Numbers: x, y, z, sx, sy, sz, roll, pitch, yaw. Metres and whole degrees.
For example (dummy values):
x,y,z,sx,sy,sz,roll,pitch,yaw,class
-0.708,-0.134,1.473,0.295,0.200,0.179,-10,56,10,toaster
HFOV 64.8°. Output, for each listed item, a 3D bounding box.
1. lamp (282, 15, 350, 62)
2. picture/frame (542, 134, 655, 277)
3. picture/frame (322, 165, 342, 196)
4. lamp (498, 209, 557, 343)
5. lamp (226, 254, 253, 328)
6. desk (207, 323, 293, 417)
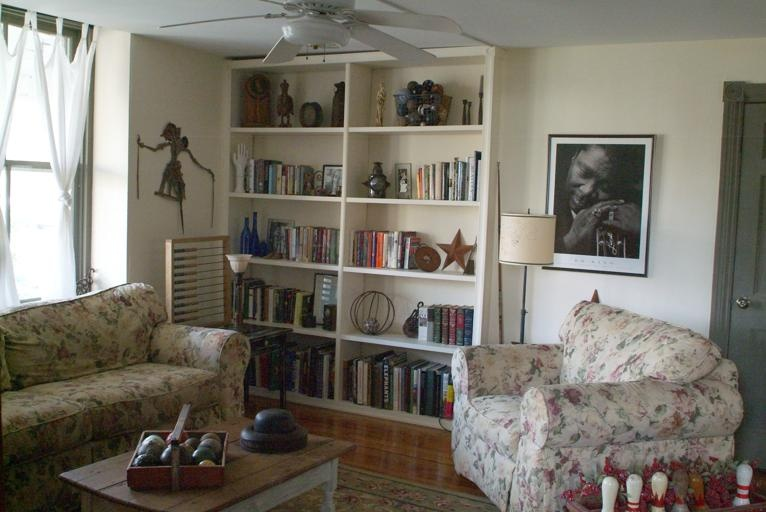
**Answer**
x,y,z,sx,sy,sz,roll,pitch,yaw,class
-0.335,-1.137,3.060,0.331,0.130,0.162,-2,11,-6,lamp
1.688,-0.413,4.762,0.778,1.075,0.212,2,12,17,picture/frame
-0.458,-0.696,5.537,0.301,0.335,0.017,4,5,35,picture/frame
1.040,0.020,4.442,0.364,1.169,0.384,2,1,8,lamp
-1.150,0.287,4.904,0.216,0.610,0.226,-2,15,-22,lamp
-1.094,0.886,5.155,0.855,0.805,0.772,-2,-4,41,desk
